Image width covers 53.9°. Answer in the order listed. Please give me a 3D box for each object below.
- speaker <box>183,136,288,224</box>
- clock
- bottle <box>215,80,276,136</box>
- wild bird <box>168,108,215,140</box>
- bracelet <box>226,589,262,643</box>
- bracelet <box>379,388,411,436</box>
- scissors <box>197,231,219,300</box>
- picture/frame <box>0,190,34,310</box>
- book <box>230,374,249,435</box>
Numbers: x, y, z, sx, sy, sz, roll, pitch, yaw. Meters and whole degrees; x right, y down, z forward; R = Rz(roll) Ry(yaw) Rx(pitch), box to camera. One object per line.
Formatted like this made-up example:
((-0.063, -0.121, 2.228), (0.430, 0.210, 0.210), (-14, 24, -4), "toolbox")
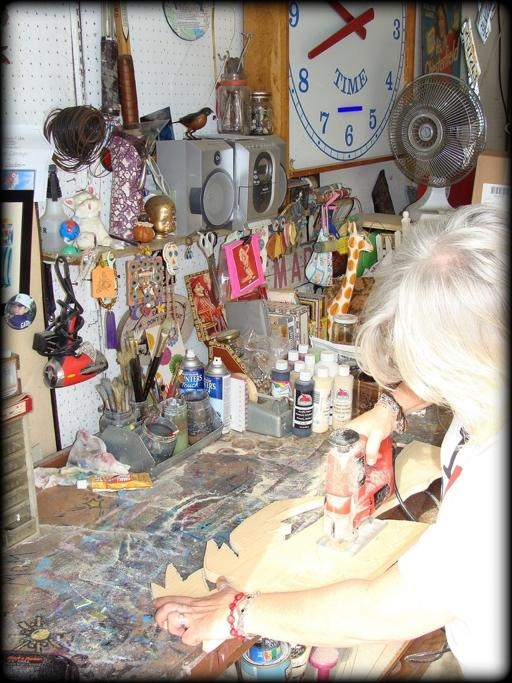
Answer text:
((-0.080, -0.545, 1.685), (0.157, 0.209, 0.299), (16, 34, 26), "speaker")
((0.431, -1.234, 2.386), (0.048, 0.919, 0.890), (11, 25, 34), "clock")
((-0.038, -0.845, 1.833), (0.217, 0.217, 0.149), (-15, 25, -36), "bottle")
((-0.214, -0.747, 1.720), (0.075, 0.104, 0.171), (5, 14, 19), "wild bird")
((-0.027, 0.446, 0.800), (0.028, 0.060, 0.073), (-5, -13, 25), "bracelet")
((0.370, 0.184, 1.331), (0.050, 0.138, 0.112), (-13, -23, 13), "bracelet")
((-0.173, -0.282, 1.840), (0.015, 0.193, 0.070), (6, 23, 32), "scissors")
((-0.553, -0.216, 1.161), (0.087, 0.257, 0.045), (-7, 14, -29), "picture/frame")
((-0.059, 0.208, 1.639), (0.043, 0.150, 0.108), (2, -1, -33), "book")
